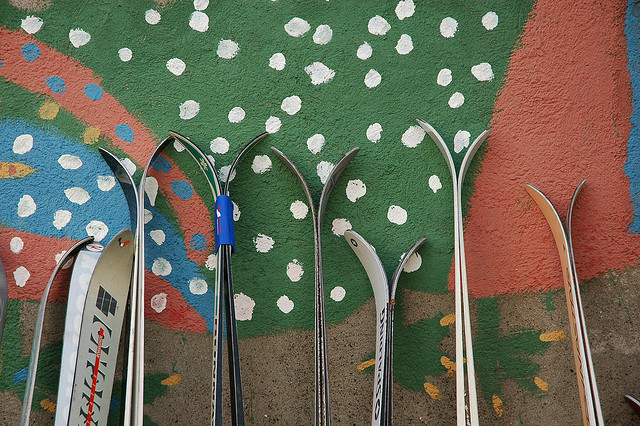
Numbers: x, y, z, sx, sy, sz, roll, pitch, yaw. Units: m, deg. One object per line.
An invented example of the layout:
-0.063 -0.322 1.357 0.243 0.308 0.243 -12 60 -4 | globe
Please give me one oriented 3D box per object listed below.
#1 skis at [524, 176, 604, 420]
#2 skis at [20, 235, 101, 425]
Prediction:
1.009 0.327 2.764 0.246 1.022 0.086 -1 -14 -19 | skis
-1.005 0.439 2.562 0.226 0.721 0.184 5 -26 -19 | skis
